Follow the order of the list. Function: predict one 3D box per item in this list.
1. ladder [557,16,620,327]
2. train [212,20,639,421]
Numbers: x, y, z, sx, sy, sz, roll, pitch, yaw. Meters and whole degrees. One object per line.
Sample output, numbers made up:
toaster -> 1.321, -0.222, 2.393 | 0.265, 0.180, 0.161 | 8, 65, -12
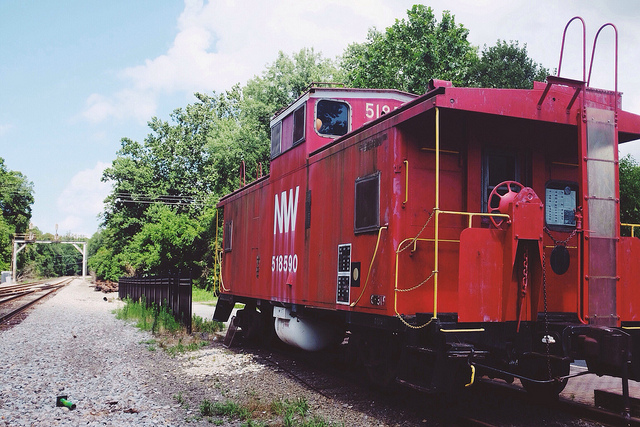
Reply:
ladder -> 4.235, -0.528, 7.585 | 0.941, 4.486, 0.373 | 1, -3, -33
train -> 1.503, 0.749, 11.328 | 4.672, 5.453, 10.038 | 4, -7, -21
